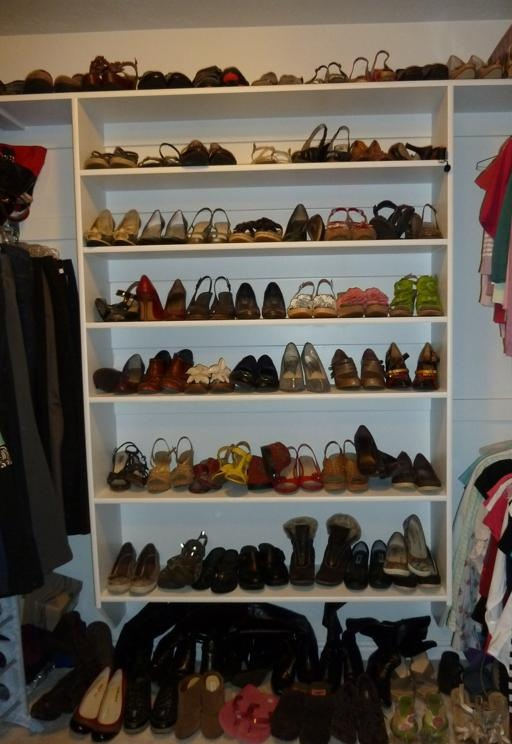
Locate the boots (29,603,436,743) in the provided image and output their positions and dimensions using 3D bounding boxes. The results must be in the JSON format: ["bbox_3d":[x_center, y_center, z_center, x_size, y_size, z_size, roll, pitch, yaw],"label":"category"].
[{"bbox_3d":[0.027,1.082,2.238,1.191,0.311,0.752,-1,-2,15],"label":"boots"}]
